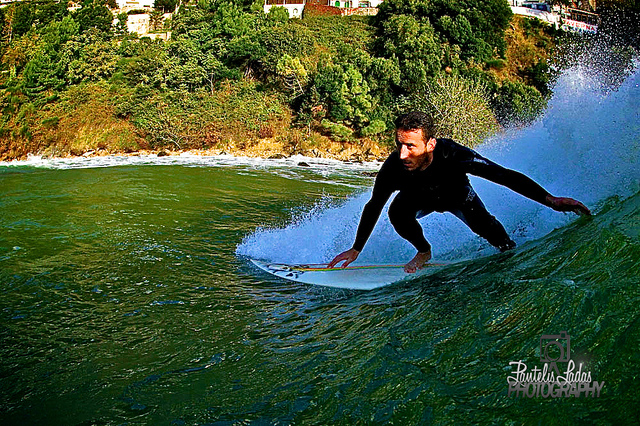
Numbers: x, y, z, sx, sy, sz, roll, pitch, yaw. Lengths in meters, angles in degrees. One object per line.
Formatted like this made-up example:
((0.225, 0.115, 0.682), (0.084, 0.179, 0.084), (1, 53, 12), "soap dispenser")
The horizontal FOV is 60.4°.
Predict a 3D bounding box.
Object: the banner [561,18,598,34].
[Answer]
((19.013, -13.716, 40.287), (4.004, 1.009, 0.788), (-8, 16, -30), "banner")
